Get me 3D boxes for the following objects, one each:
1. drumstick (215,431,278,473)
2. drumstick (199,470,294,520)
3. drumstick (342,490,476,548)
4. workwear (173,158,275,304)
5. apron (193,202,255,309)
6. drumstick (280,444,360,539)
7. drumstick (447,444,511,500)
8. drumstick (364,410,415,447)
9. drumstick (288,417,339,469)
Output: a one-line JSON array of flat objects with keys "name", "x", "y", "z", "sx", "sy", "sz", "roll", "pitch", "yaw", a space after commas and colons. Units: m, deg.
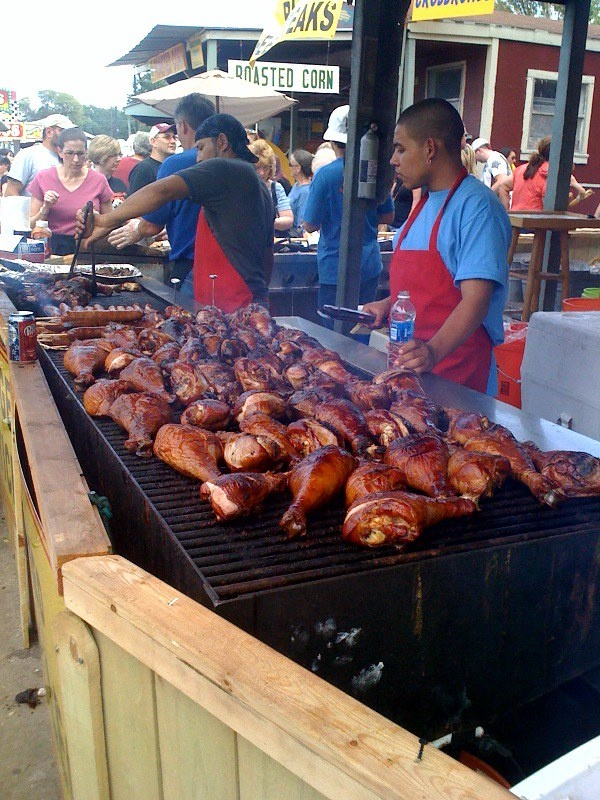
[{"name": "drumstick", "x": -0.124, "y": 0.125, "z": 1.539, "sx": 0.073, "sy": 0.051, "sz": 0.135, "roll": 14, "pitch": -3, "yaw": -19}, {"name": "drumstick", "x": -0.108, "y": 0.191, "z": 1.381, "sx": 0.147, "sy": 0.066, "sz": 0.090, "roll": -10, "pitch": 11, "yaw": -40}, {"name": "drumstick", "x": 0.208, "y": 0.207, "z": 1.263, "sx": 0.184, "sy": 0.070, "sz": 0.115, "roll": -7, "pitch": 4, "yaw": -27}, {"name": "workwear", "x": -0.500, "y": -1.090, "z": 4.125, "sx": 0.490, "sy": 0.982, "sz": 0.819, "roll": 20, "pitch": 36, "yaw": 23}, {"name": "apron", "x": -0.470, "y": -0.928, "z": 4.091, "sx": 0.396, "sy": 0.789, "sz": 0.592, "roll": -6, "pitch": 24, "yaw": -16}, {"name": "drumstick", "x": 0.029, "y": 0.183, "z": 1.359, "sx": 0.097, "sy": 0.079, "sz": 0.206, "roll": 10, "pitch": 33, "yaw": 17}, {"name": "drumstick", "x": 0.378, "y": 0.161, "z": 1.462, "sx": 0.140, "sy": 0.086, "sz": 0.161, "roll": -15, "pitch": 22, "yaw": -40}, {"name": "drumstick", "x": 0.233, "y": 0.066, "z": 1.682, "sx": 0.073, "sy": 0.039, "sz": 0.106, "roll": -22, "pitch": 36, "yaw": -11}, {"name": "drumstick", "x": 0.024, "y": 0.107, "z": 1.586, "sx": 0.080, "sy": 0.043, "sz": 0.109, "roll": 5, "pitch": 23, "yaw": -16}]
